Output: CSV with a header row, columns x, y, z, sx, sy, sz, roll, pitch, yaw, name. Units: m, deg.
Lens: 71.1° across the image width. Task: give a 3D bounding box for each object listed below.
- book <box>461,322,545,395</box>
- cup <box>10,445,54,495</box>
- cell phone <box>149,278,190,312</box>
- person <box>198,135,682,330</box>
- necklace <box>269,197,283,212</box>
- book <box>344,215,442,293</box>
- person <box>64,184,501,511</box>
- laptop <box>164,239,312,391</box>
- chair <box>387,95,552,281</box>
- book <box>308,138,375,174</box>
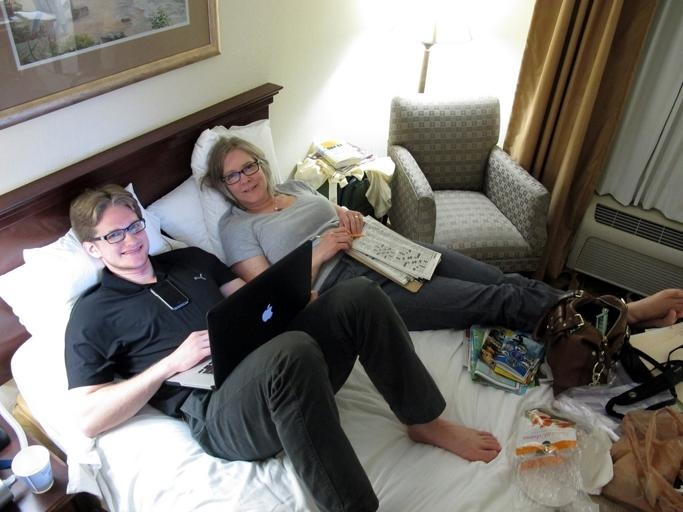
x,y,z,sx,sy,sz,roll,pitch,yaw,name
0.676,0.420,1.971,0.218,0.095,0.252,5,39,4,book
-1.050,0.735,1.632,0.113,0.128,0.114,2,34,-1,cup
-0.685,0.162,1.875,0.134,0.014,0.079,44,51,15,cell phone
0.553,-0.116,2.419,1.285,0.601,0.588,12,42,20,person
-0.322,-0.263,2.398,0.061,0.026,0.066,-3,57,-23,necklace
0.241,0.002,2.263,0.368,0.095,0.289,34,60,13,book
-0.283,0.375,1.840,1.520,1.115,0.945,10,40,27,person
-0.384,0.230,1.713,0.272,0.270,0.411,21,44,29,laptop
0.610,-0.345,3.105,0.807,1.234,1.187,-4,50,-3,chair
0.017,-0.648,2.986,0.261,0.076,0.265,-26,53,-32,book
